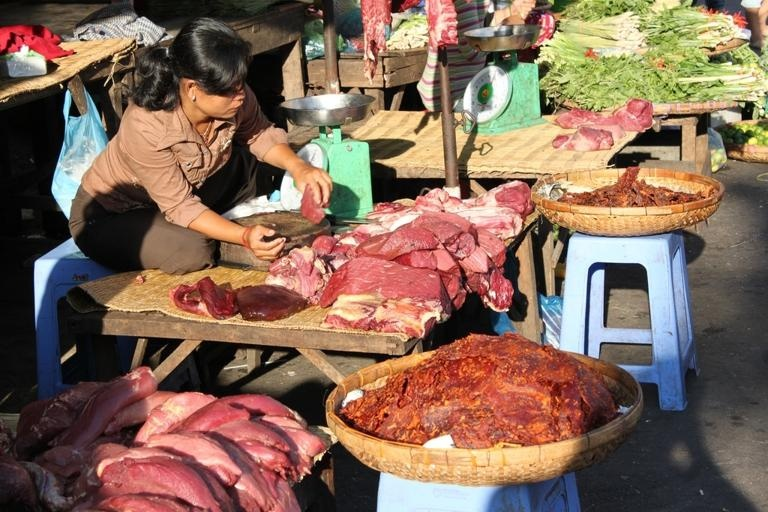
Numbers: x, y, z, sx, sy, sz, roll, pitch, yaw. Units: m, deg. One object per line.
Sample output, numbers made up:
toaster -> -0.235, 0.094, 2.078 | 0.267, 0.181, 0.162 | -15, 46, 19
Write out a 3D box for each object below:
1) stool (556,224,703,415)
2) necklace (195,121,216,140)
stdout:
stool -> 1.754, 0.373, 4.698 | 0.931, 1.262, 0.937 | 1, 17, 15
necklace -> -1.129, -0.800, 4.066 | 0.087, 0.121, 0.040 | -14, 71, -15
